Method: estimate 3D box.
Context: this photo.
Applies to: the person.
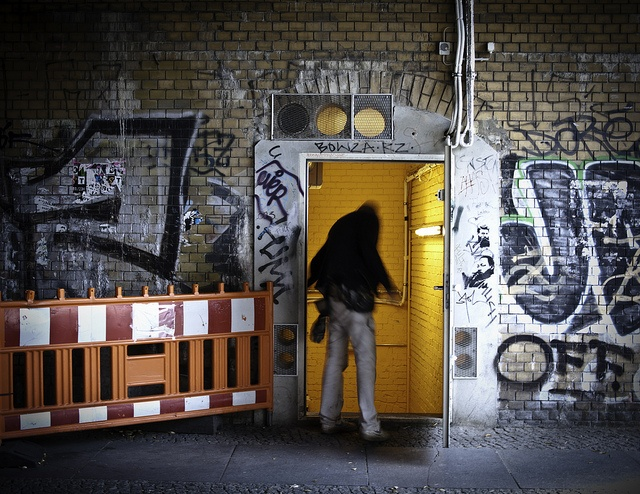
[{"bbox_3d":[0.357,0.788,8.380,0.861,2.593,0.339,2,-2,10],"label":"person"}]
